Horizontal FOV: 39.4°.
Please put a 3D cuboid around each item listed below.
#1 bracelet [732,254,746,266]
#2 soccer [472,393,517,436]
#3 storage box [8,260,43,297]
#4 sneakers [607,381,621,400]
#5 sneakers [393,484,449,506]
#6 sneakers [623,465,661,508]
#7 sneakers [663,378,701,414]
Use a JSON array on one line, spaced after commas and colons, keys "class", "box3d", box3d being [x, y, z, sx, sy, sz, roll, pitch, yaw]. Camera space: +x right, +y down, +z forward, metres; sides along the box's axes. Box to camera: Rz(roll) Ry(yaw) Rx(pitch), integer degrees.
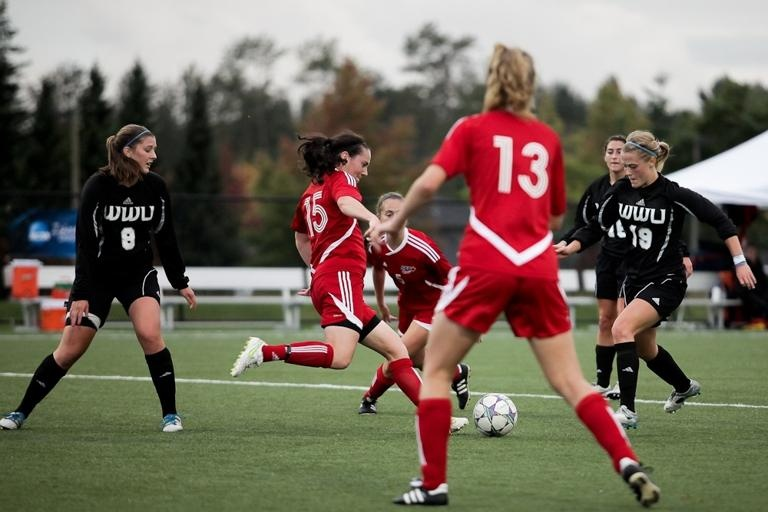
[{"class": "bracelet", "box3d": [3.722, 0.047, 11.187, 0.101, 0.096, 0.122, -1, 6, 4]}, {"class": "soccer", "box3d": [1.153, 1.650, 11.066, 0.410, 0.423, 0.407, 3, -28, 3]}, {"class": "storage box", "box3d": [-6.936, 0.468, 20.743, 0.611, 0.760, 0.628, 0, -1, -10]}, {"class": "sneakers", "box3d": [2.781, 1.658, 12.986, 0.172, 0.212, 0.485, -2, -7, 2]}, {"class": "sneakers", "box3d": [0.348, 2.080, 9.404, 0.435, 0.183, 0.175, 4, -5, 3]}, {"class": "sneakers", "box3d": [2.216, 2.011, 9.273, 0.363, 0.134, 0.176, 48, 14, 5]}, {"class": "sneakers", "box3d": [3.343, 1.585, 11.992, 0.193, 0.372, 0.134, 32, 24, -38]}]
